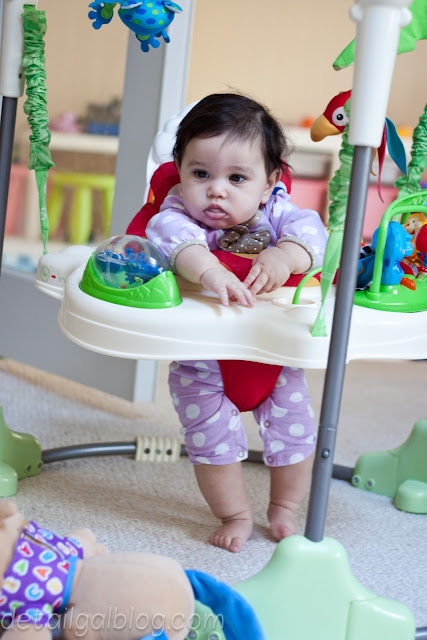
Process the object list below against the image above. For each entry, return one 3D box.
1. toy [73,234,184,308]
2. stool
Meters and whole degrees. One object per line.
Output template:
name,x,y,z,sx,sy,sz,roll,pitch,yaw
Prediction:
toy,-0.084,-0.052,0.590,0.120,0.066,0.068,12,11,33
stool,-0.363,-0.295,1.478,0.156,0.153,0.150,-10,21,-43
